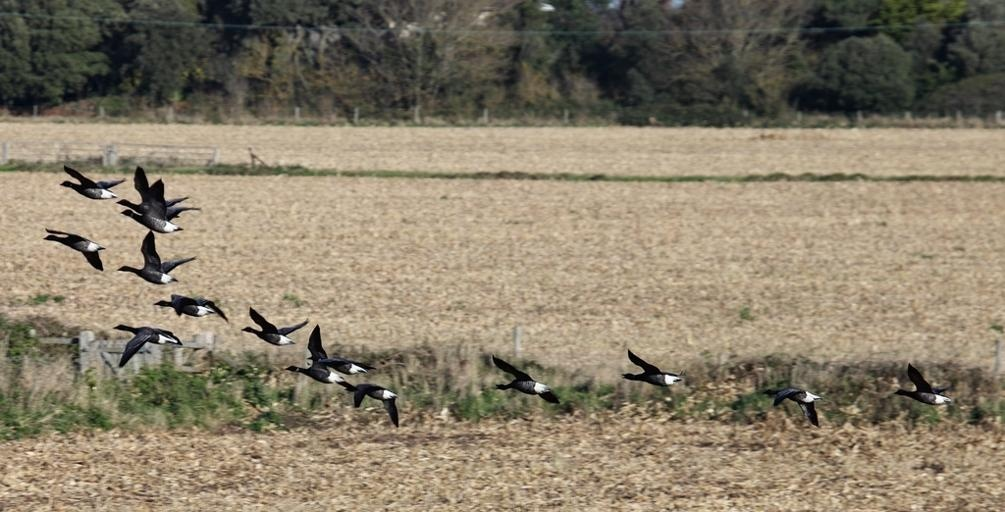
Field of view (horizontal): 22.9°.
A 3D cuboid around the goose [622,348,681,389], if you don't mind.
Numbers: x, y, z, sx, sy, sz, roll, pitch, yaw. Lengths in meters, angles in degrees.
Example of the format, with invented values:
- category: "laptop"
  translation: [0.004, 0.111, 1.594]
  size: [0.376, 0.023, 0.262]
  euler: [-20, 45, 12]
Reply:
- category: "goose"
  translation: [5.781, 4.971, 99.819]
  size: [2.328, 0.889, 2.161]
  euler: [16, 14, 13]

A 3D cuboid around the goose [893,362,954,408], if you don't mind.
- category: "goose"
  translation: [17.019, 5.507, 100.434]
  size: [2.185, 2.004, 1.707]
  euler: [0, 10, 7]

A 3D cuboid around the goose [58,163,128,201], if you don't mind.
- category: "goose"
  translation: [-16.557, -2.781, 99.639]
  size: [2.566, 0.639, 2.273]
  euler: [4, 6, 0]
